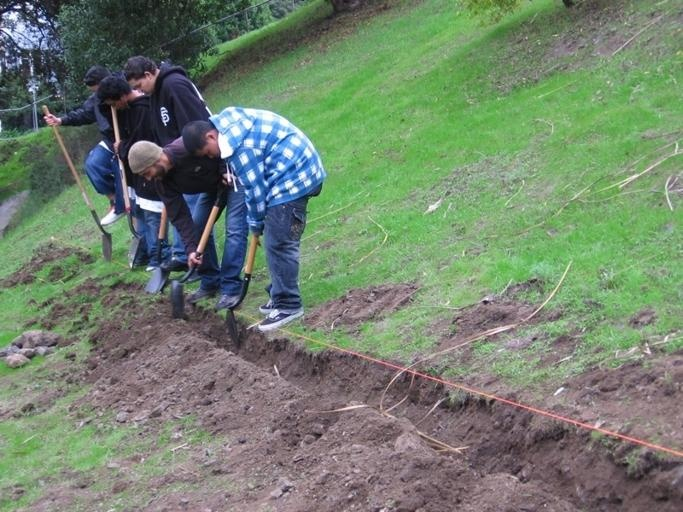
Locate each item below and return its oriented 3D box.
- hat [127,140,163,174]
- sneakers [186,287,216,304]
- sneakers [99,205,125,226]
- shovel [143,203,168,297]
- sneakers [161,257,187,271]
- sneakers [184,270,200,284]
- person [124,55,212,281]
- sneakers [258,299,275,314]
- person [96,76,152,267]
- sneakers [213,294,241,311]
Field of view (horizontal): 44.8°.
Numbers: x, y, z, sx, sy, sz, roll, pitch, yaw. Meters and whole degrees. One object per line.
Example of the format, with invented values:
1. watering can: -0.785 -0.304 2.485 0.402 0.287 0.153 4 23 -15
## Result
1. hat: -2.341 -1.152 9.813 0.294 0.303 0.396 -17 19 46
2. sneakers: -1.881 0.533 10.928 0.433 0.210 0.170 -4 10 -24
3. sneakers: -3.763 -0.637 13.486 0.222 0.305 0.630 -16 -6 -43
4. shovel: -2.627 -0.077 11.589 0.301 0.176 1.563 -37 36 7
5. sneakers: -2.322 0.116 11.359 0.376 0.193 0.156 2 6 -11
6. sneakers: -2.096 0.309 11.324 0.123 0.161 0.355 1 3 13
7. person: -2.212 -1.207 10.820 0.943 2.767 0.939 -17 13 -37
8. sneakers: -0.948 0.637 10.317 0.109 0.122 0.285 12 7 13
9. person: -2.861 -1.079 11.517 0.872 2.875 0.846 -7 13 -24
10. sneakers: -1.480 0.585 10.485 0.364 0.173 0.166 -11 7 -11
